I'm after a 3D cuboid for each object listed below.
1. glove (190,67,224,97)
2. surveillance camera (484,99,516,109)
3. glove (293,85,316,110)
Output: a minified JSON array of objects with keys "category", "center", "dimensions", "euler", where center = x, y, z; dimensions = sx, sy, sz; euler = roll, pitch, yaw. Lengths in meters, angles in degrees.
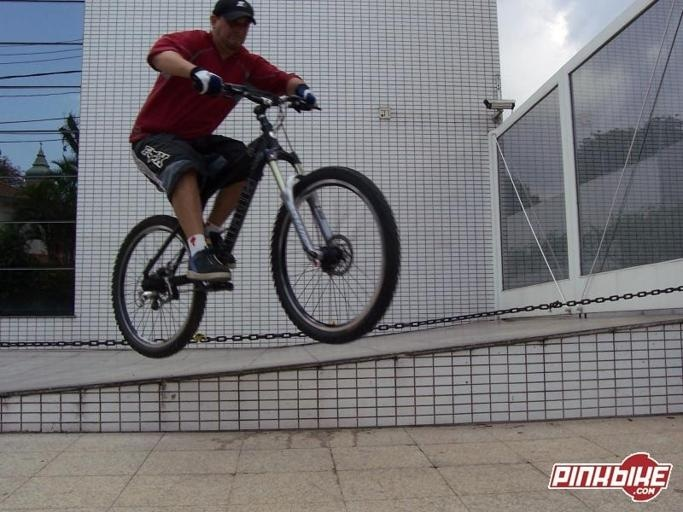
[{"category":"glove","center":[-0.890,-1.176,5.066],"dimensions":[0.205,0.150,0.071],"euler":[36,-33,14]},{"category":"surveillance camera","center":[1.890,-1.812,9.022],"dimensions":[0.367,0.126,0.128],"euler":[4,1,10]},{"category":"glove","center":[-0.241,-1.142,5.425],"dimensions":[0.117,0.086,0.272],"euler":[17,12,-20]}]
